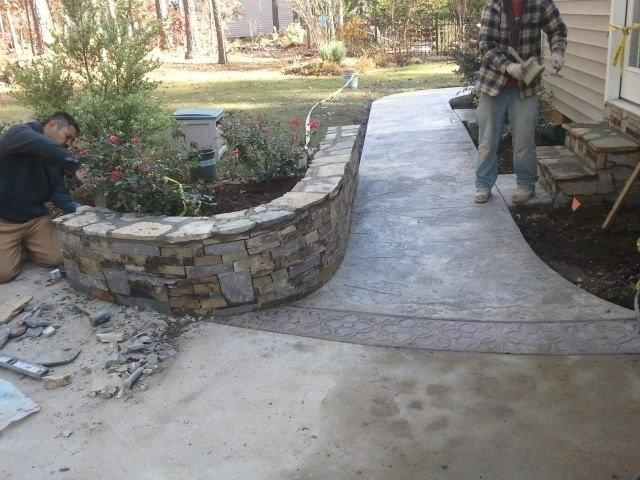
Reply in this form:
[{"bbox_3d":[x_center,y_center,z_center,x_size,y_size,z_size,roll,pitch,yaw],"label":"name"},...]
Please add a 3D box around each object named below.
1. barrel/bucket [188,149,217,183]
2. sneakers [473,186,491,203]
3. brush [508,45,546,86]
[{"bbox_3d":[-1.326,-0.849,5.445,0.407,0.348,0.349,2,26,3],"label":"barrel/bucket"},{"bbox_3d":[1.780,-0.499,5.229,0.170,0.135,0.393,1,10,16],"label":"sneakers"},{"bbox_3d":[1.989,-1.651,4.616,0.406,0.380,0.307,2,19,7],"label":"brush"}]
